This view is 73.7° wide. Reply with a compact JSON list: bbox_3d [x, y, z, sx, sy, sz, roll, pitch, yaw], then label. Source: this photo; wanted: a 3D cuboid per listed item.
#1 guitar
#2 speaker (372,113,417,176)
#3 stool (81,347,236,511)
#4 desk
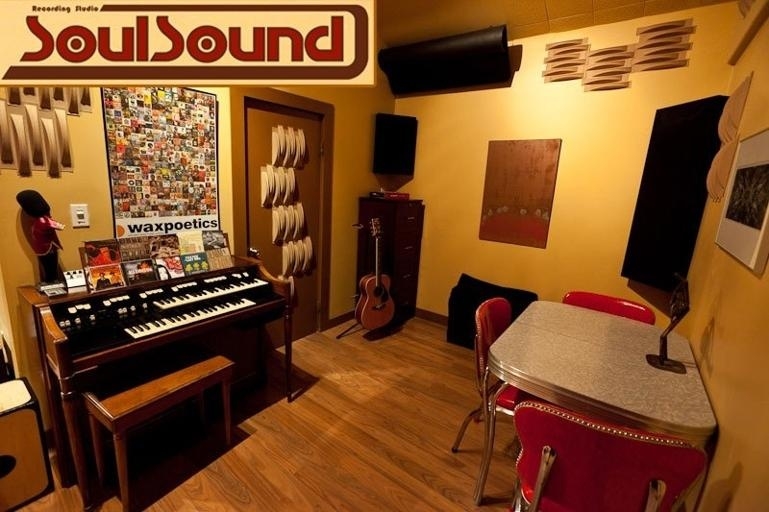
[{"bbox_3d":[-0.094,0.235,5.056,0.346,1.139,0.587,4,15,14],"label":"guitar"},{"bbox_3d":[0.117,-1.162,5.453,0.526,0.666,0.200,-12,19,-40],"label":"speaker"},{"bbox_3d":[-1.499,1.144,3.477,0.861,0.803,0.524,-11,18,-37],"label":"stool"},{"bbox_3d":[1.437,1.060,3.584,1.115,1.357,1.428,17,33,26],"label":"desk"}]
